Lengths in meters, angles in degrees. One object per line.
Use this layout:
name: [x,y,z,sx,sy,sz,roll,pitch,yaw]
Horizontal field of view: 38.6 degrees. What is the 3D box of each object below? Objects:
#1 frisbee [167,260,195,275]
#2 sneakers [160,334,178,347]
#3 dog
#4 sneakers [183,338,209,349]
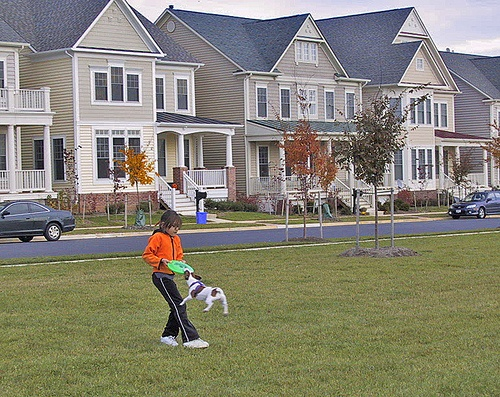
frisbee: [-1.035,0.978,10.176,0.233,0.040,0.231,13,28,-3]
sneakers: [-1.202,2.114,10.540,0.294,0.125,0.100,8,30,20]
dog: [-0.692,1.311,10.193,0.798,0.475,0.296,10,6,35]
sneakers: [-0.795,2.127,10.452,0.354,0.161,0.129,-1,3,10]
